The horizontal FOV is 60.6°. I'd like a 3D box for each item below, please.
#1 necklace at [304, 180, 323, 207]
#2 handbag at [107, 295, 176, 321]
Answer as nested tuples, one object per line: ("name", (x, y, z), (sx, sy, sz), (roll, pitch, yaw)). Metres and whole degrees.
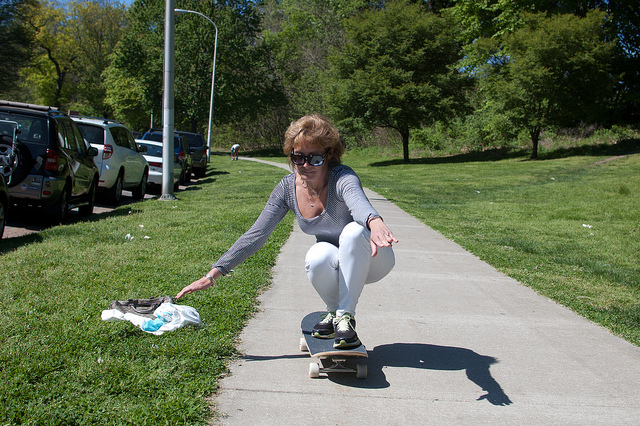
("necklace", (-0.061, -0.204, 5.702), (0.261, 0.310, 0.032), (4, 2, 3))
("handbag", (-2.062, 1.038, 6.273), (0.710, 0.160, 0.434), (8, 13, 18))
